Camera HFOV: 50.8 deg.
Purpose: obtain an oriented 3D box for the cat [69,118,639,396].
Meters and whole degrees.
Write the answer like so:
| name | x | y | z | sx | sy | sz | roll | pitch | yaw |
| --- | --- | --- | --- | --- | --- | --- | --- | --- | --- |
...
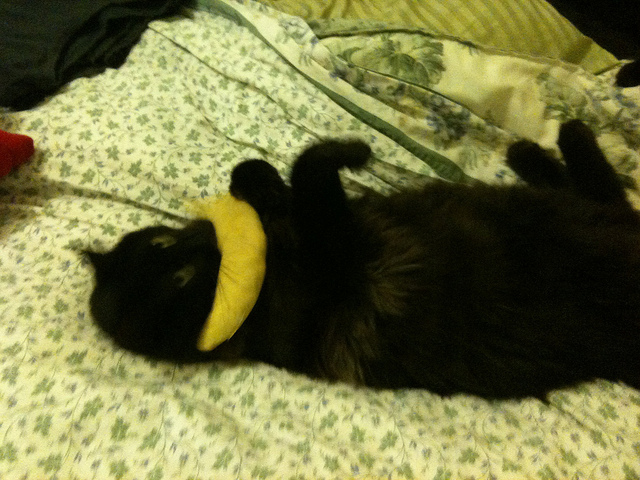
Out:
| name | x | y | z | sx | sy | sz | roll | pitch | yaw |
| --- | --- | --- | --- | --- | --- | --- | --- | --- | --- |
| cat | 0.193 | 0.054 | 2.148 | 1.699 | 0.649 | 0.702 | -2 | 87 | -1 |
